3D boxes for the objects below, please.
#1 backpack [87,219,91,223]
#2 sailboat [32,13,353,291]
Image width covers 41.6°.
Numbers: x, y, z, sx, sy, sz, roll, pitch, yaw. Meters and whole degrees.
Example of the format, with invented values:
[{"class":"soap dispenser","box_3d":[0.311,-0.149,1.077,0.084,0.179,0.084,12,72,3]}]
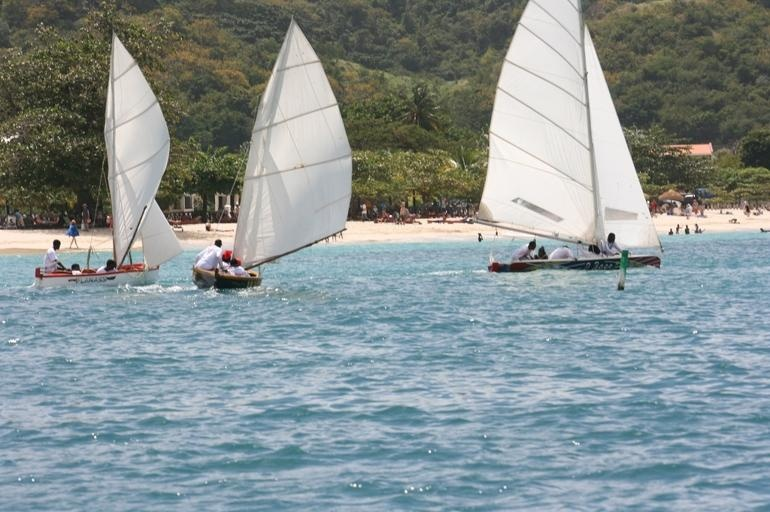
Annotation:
[{"class":"backpack","box_3d":[-22.788,-2.661,78.201,0.251,0.235,0.238,2,8,-2]},{"class":"sailboat","box_3d":[-7.593,-4.229,45.838,11.975,12.571,2.639,5,15,18]}]
